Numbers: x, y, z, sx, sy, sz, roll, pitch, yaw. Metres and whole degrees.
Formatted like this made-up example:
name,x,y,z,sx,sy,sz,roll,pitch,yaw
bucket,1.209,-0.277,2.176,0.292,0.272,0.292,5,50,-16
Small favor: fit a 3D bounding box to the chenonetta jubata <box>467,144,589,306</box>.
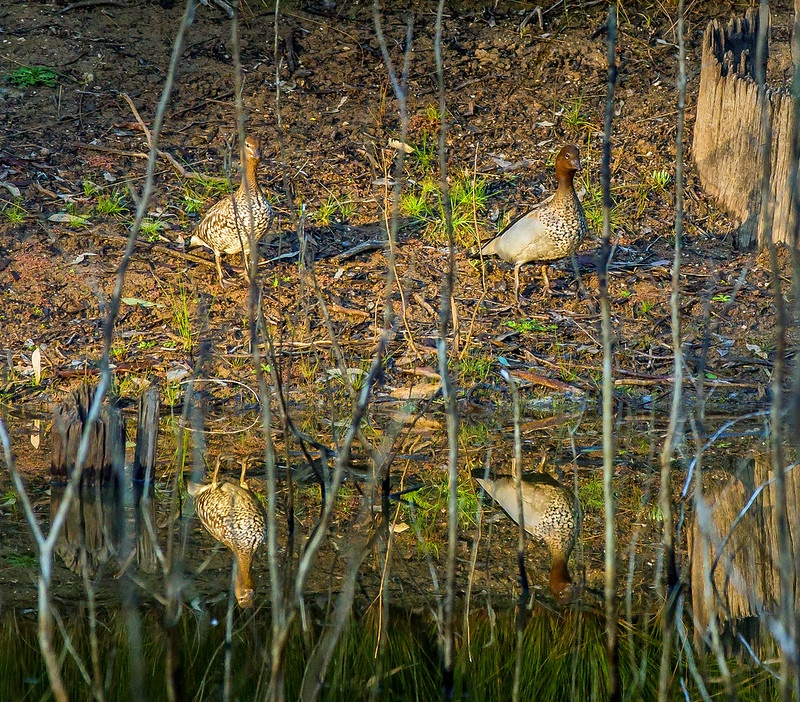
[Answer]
name,x,y,z,sx,sy,sz,roll,pitch,yaw
chenonetta jubata,0.787,-0.724,6.229,0.621,0.824,0.341,-5,-7,41
